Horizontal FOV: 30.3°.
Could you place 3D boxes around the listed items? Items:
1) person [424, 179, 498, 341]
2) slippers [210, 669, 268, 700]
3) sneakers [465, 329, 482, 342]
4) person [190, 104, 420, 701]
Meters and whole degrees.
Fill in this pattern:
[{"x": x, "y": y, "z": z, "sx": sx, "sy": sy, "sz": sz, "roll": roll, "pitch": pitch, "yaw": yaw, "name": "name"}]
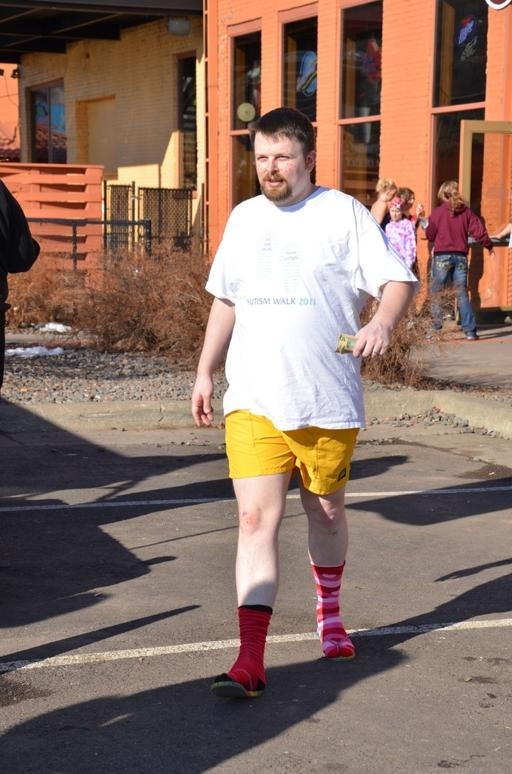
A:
[{"x": 2.833, "y": -1.833, "z": 13.550, "sx": 0.881, "sy": 2.188, "sz": 0.911, "roll": 3, "pitch": 13, "yaw": 9, "name": "person"}, {"x": -0.056, "y": 0.909, "z": 2.891, "sx": 0.069, "sy": 0.076, "sz": 0.202, "roll": -15, "pitch": -24, "yaw": 33, "name": "slippers"}, {"x": 3.057, "y": -0.721, "z": 13.491, "sx": 0.120, "sy": 0.129, "sz": 0.344, "roll": -1, "pitch": -7, "yaw": 16, "name": "sneakers"}, {"x": 0.172, "y": 0.074, "z": 2.999, "sx": 0.651, "sy": 1.891, "sz": 0.727, "roll": 0, "pitch": 13, "yaw": -3, "name": "person"}]
